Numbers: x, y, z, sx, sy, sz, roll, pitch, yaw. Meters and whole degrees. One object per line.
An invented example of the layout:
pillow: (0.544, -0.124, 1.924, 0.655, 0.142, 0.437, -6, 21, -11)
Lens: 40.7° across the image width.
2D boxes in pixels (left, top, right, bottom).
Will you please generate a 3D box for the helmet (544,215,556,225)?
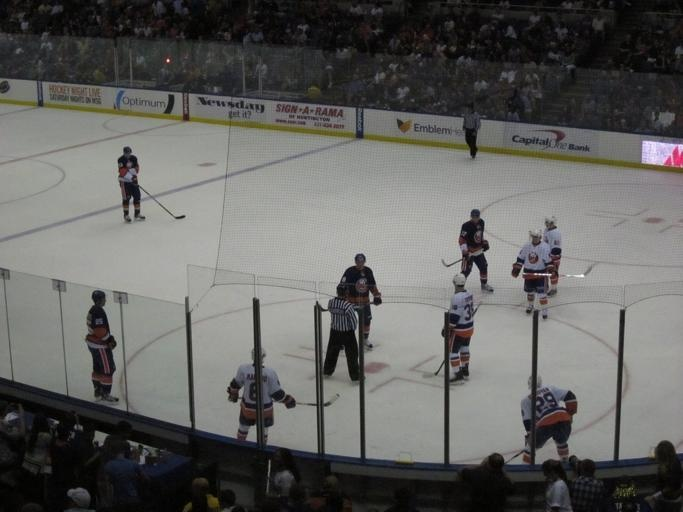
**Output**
helmet: (3.501, -0.600, 15.435, 0.162, 0.121, 0.125, 7, 21, 4)

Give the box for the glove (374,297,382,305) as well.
glove: (0.438, 0.566, 11.508, 0.113, 0.105, 0.070, -20, 30, -34)

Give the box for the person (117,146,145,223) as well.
person: (-4.457, -1.509, 19.609, 0.534, 1.581, 1.475, 0, 5, -12)

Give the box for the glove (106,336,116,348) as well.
glove: (-2.895, 1.090, 11.606, 0.112, 0.146, 0.154, -2, -19, -2)

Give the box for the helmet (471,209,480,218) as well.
helmet: (2.257, -0.730, 15.517, 0.110, 0.079, 0.158, 0, 29, 7)

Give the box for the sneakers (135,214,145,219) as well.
sneakers: (-4.298, -0.867, 19.635, 0.224, 0.147, 0.072, -8, 49, -18)

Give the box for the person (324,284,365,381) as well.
person: (0.001, 1.016, 12.212, 0.454, 1.231, 0.719, 1, 5, 0)

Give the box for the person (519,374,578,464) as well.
person: (2.471, 2.006, 11.010, 0.610, 0.516, 1.285, 19, 52, -17)

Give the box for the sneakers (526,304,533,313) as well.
sneakers: (2.405, 0.675, 11.776, 0.059, 0.062, 0.176, 4, 27, 20)

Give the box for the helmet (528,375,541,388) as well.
helmet: (2.305, 1.503, 10.886, 0.134, 0.167, 0.173, -6, 14, -1)

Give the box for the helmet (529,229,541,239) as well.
helmet: (3.117, -0.354, 14.795, 0.142, 0.108, 0.109, 17, 18, 24)

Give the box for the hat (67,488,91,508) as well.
hat: (-2.867, 2.610, 10.033, 0.215, 0.236, 0.450, 0, 5, -19)

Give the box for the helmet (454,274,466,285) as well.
helmet: (1.654, 0.336, 12.799, 0.139, 0.158, 0.170, -1, 16, -2)

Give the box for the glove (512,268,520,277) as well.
glove: (2.815, 0.263, 14.886, 0.137, 0.163, 0.099, 9, 10, 39)

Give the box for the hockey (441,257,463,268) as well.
hockey: (1.938, 0.123, 16.294, 0.212, 0.051, 0.218, -26, 30, -23)
